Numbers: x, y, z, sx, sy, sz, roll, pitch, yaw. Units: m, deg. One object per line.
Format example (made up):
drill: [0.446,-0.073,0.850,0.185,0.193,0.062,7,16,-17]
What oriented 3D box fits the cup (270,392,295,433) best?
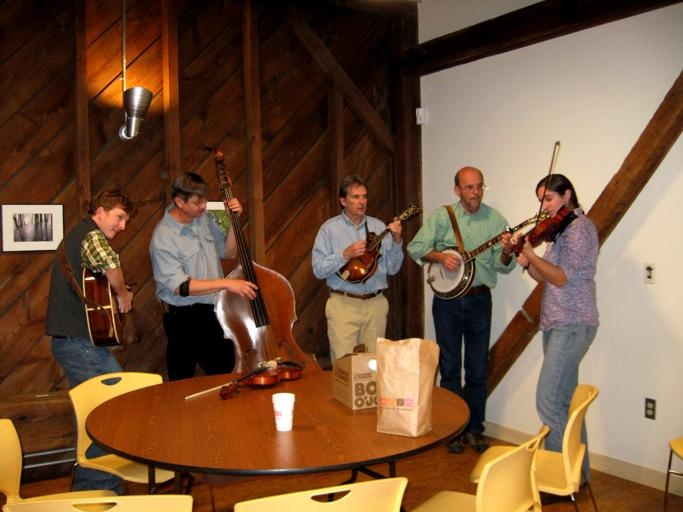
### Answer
cup: [-0.262,0.752,3.127,0.149,0.175,0.149,0,-9,0]

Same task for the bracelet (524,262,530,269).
bracelet: [1.216,0.074,4.326,0.011,0.045,0.045,24,27,32]

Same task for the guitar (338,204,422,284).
guitar: [0.284,-0.101,4.793,0.331,0.851,0.100,37,-4,8]

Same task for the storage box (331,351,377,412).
storage box: [0.098,0.620,3.364,0.244,0.253,0.192,3,2,-40]

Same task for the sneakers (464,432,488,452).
sneakers: [1.029,1.414,5.093,0.110,0.110,0.258,-7,5,-27]

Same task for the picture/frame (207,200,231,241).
picture/frame: [-0.915,-0.304,5.120,0.292,0.297,0.080,2,-10,-41]

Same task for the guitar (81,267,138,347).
guitar: [-1.522,0.325,4.266,0.170,0.377,0.506,-6,-11,-3]

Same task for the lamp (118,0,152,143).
lamp: [-1.515,-1.392,4.826,0.206,1.044,0.473,1,0,-22]

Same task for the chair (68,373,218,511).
chair: [-1.097,1.018,3.896,0.605,0.998,0.649,1,-5,-41]

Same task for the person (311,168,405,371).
person: [0.127,0.366,4.936,0.729,1.865,0.587,0,1,-19]
